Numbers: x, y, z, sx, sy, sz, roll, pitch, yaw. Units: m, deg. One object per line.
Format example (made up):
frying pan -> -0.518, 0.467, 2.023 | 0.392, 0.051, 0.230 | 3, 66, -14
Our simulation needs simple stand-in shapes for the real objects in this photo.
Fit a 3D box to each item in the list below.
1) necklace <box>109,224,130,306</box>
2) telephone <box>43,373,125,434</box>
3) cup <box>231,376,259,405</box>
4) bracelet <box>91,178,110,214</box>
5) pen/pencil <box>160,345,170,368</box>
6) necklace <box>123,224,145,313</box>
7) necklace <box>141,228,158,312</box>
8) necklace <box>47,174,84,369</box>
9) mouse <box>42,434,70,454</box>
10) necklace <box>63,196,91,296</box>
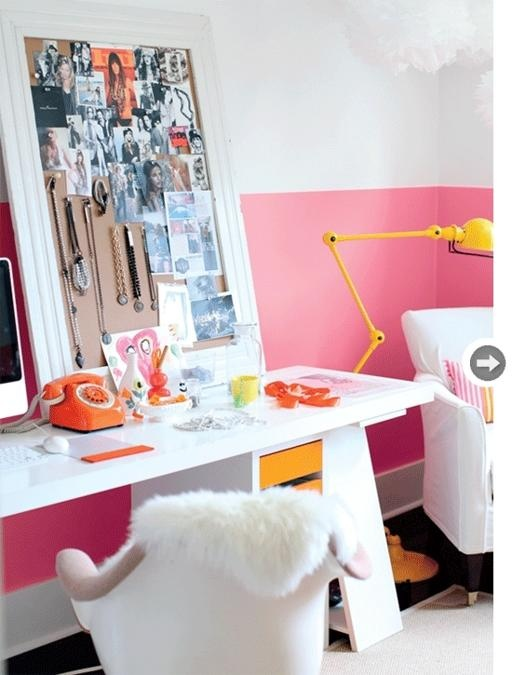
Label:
necklace -> -0.333, -0.175, 1.370 | 0.038, 0.186, 0.033 | -2, -11, -25
telephone -> -0.373, 0.138, 1.244 | 0.156, 0.112, 0.164 | 2, 2, 4
cup -> -0.027, 0.130, 1.355 | 0.057, 0.052, 0.071 | 0, 2, 4
bracelet -> -0.370, -0.340, 1.349 | 0.022, 0.071, 0.053 | -1, 3, 33
pen/pencil -> -0.224, 0.046, 1.396 | 0.013, 0.062, 0.012 | 17, -13, -9
necklace -> -0.310, -0.169, 1.389 | 0.036, 0.212, 0.038 | -7, -6, -25
necklace -> -0.278, -0.170, 1.415 | 0.029, 0.208, 0.024 | -7, -6, -30
necklace -> -0.437, -0.141, 1.286 | 0.052, 0.448, 0.037 | -9, 2, 34
mouse -> -0.372, 0.202, 1.051 | 0.041, 0.033, 0.031 | 5, -27, 17
necklace -> -0.408, -0.212, 1.306 | 0.051, 0.216, 0.057 | -8, -3, -8
